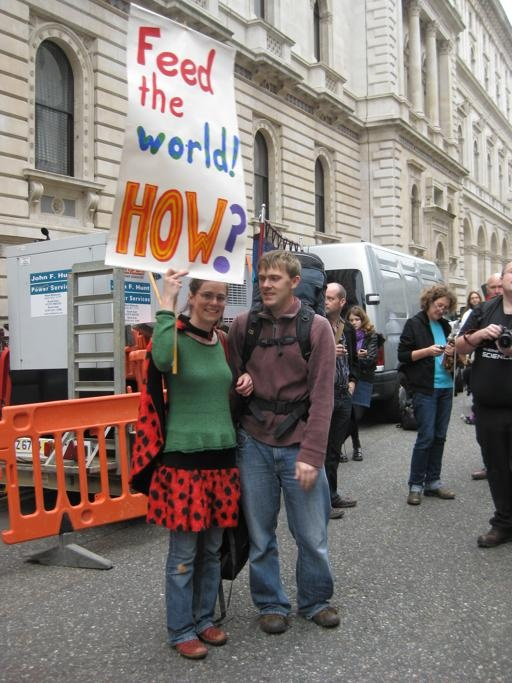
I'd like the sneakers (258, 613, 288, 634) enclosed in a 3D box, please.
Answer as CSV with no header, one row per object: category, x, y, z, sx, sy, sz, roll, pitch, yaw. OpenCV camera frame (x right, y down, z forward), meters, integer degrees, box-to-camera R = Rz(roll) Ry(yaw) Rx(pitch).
sneakers,0.072,1.251,2.588,0.116,0.077,0.070,-1,-5,4

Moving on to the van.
van,2.284,-0.556,11.675,1.967,2.410,4.212,-1,5,17

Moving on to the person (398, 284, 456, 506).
person,1.628,0.486,5.583,0.523,2.030,0.657,-2,-5,19

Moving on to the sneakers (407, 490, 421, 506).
sneakers,1.434,1.429,5.340,0.131,0.116,0.222,-2,-5,14

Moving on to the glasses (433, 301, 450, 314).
glasses,1.756,-0.324,5.566,0.100,0.149,0.113,22,-35,1

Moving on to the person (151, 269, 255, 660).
person,-0.260,0.513,2.467,0.296,1.561,0.522,-5,-6,41

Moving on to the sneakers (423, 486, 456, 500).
sneakers,1.733,1.435,5.554,0.274,0.121,0.099,-6,-7,40

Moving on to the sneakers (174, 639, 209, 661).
sneakers,-0.263,1.232,2.366,0.120,0.054,0.056,7,4,35

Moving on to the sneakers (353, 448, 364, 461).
sneakers,1.303,1.475,7.547,0.067,0.089,0.220,1,9,5
